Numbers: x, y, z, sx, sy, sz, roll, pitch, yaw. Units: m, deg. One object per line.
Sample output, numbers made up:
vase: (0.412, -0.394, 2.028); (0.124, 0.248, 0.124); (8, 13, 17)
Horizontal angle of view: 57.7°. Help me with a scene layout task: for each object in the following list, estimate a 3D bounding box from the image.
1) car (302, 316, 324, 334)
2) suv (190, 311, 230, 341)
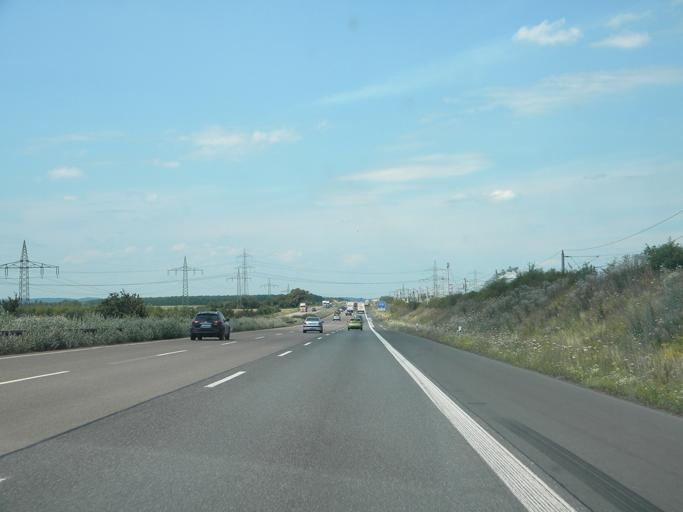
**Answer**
car: (-2.296, 5.815, 51.735); (1.119, 1.007, 2.291); (0, -10, -2)
suv: (-7.191, 3.886, 35.062); (1.118, 1.070, 2.652); (0, -2, -1)
